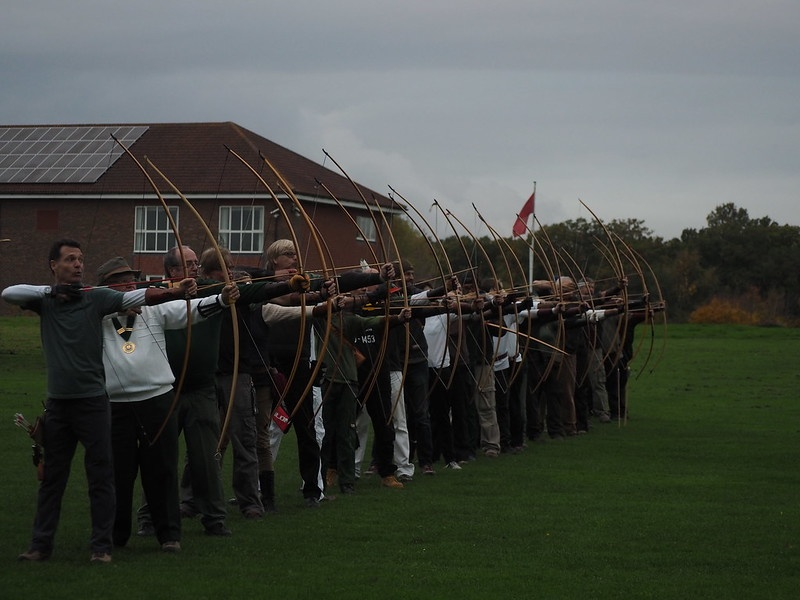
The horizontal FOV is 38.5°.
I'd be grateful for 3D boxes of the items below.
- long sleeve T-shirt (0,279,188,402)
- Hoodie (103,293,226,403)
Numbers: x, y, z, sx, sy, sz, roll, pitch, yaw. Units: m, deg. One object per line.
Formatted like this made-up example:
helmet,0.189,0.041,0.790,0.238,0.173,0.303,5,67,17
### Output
long sleeve T-shirt,-2.529,0.363,9.476,1.514,1.054,0.247,0,-12,-10
Hoodie,-1.799,0.431,8.736,0.799,0.855,0.627,-2,-38,-1
